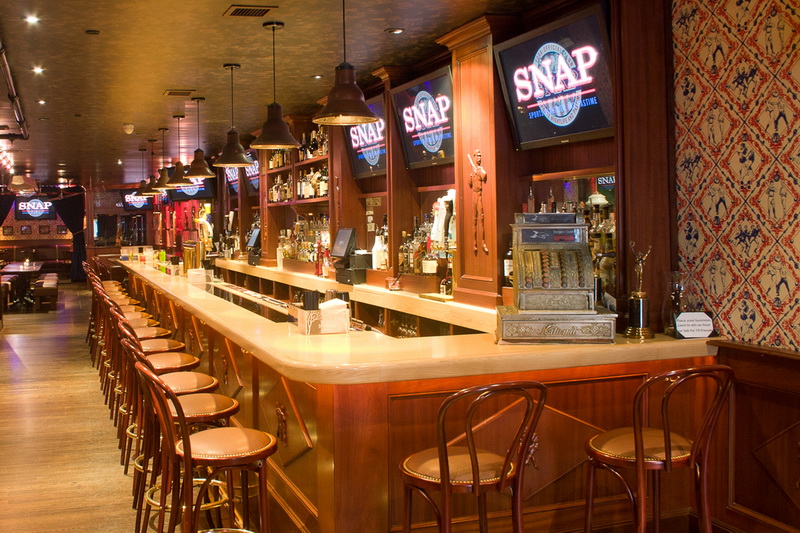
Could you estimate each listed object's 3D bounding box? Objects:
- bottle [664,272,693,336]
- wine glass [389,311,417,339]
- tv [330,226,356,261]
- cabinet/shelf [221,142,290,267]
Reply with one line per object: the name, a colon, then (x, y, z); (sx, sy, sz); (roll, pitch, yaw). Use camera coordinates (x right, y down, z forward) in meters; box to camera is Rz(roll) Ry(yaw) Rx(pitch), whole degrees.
bottle: (1.849, 0.250, 4.168); (0.151, 0.424, 0.168); (-2, 4, 7)
wine glass: (0.053, 0.600, 6.378); (0.189, 0.237, 0.455); (-5, 4, -24)
tv: (-0.665, -0.260, 7.403); (0.212, 0.390, 0.396); (11, -4, -28)
cabinet/shelf: (-2.302, -0.946, 10.100); (0.518, 1.745, 1.652); (-1, 33, -12)
